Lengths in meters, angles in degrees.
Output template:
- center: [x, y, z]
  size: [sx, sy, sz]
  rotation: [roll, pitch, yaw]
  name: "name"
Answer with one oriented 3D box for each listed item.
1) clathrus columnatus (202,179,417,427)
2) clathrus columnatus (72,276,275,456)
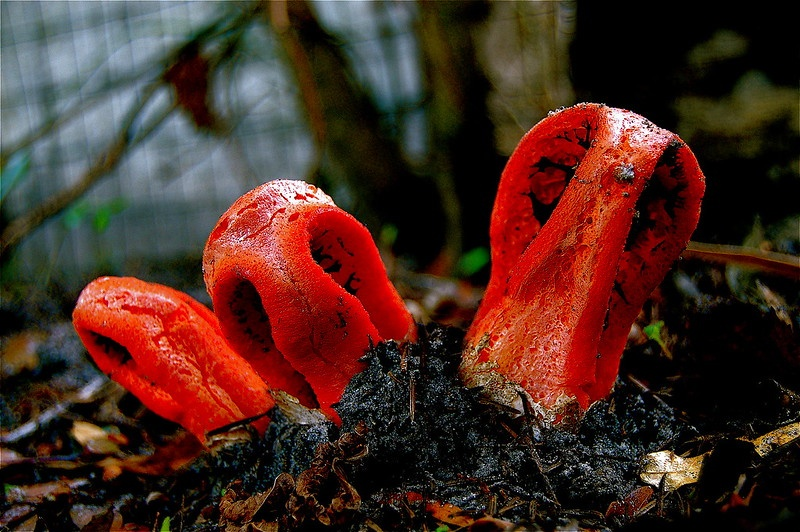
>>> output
- center: [-0.328, 0.126, 3.453]
  size: [0.701, 0.898, 0.295]
  rotation: [-23, 23, -13]
  name: "clathrus columnatus"
- center: [-0.855, 0.390, 3.715]
  size: [0.503, 0.874, 0.408]
  rotation: [-58, 1, -14]
  name: "clathrus columnatus"
